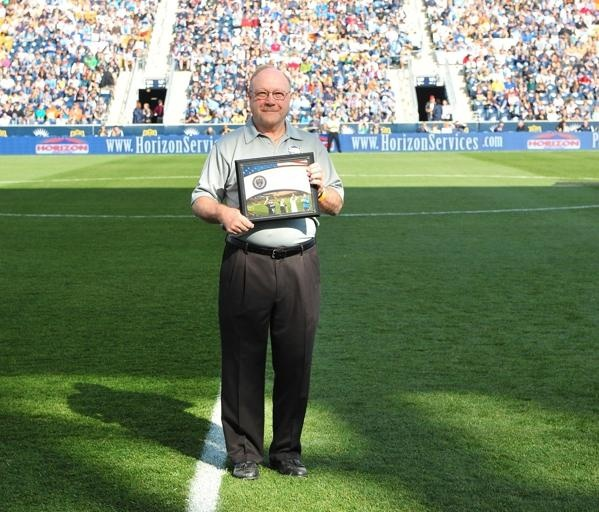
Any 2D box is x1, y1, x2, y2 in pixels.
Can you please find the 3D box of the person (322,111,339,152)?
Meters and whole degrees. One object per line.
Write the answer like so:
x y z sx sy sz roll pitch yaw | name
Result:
1.139 -4.044 25.172 0.589 0.563 1.648 -24 32 14 | person

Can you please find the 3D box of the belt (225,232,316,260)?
-0.154 -0.041 4.116 0.453 0.112 0.124 0 14 -1 | belt

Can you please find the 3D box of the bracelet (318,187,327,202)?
0.121 -0.313 4.082 0.037 0.047 0.025 -6 15 -25 | bracelet

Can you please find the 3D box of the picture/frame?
-0.115 -0.337 3.995 0.354 0.295 0.026 -5 -6 -8 | picture/frame

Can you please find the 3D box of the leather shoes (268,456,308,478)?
-0.065 1.134 4.220 0.217 0.084 0.080 -6 -6 43 | leather shoes

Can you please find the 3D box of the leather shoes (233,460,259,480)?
-0.285 1.147 4.183 0.133 0.048 0.073 3 12 -2 | leather shoes

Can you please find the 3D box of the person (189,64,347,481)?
-0.175 0.094 4.171 0.773 2.121 0.524 -1 14 -2 | person
